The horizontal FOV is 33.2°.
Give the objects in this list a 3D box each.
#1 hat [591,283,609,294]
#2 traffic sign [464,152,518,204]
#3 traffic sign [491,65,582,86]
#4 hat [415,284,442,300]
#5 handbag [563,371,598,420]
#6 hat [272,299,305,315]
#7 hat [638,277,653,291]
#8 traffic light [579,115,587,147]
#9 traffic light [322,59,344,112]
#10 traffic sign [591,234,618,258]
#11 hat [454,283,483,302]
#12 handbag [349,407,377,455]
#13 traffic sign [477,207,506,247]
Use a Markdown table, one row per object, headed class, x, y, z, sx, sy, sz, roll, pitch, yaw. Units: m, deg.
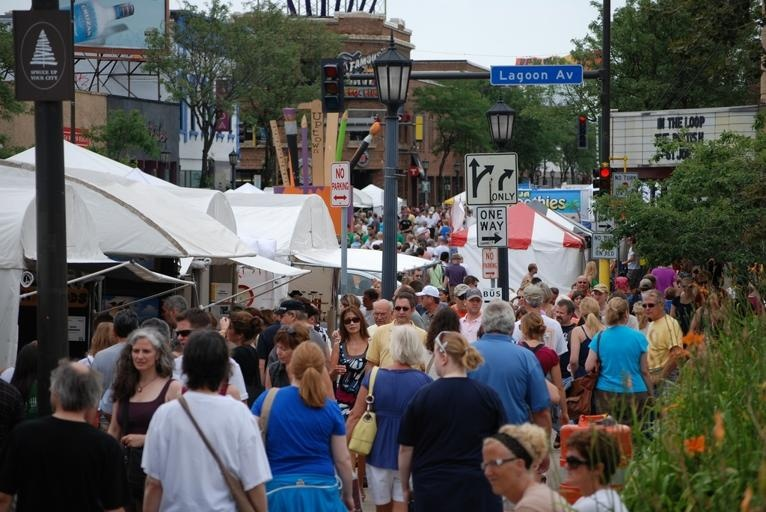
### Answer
| class | x | y | z | sx | sy | sz | roll | pitch | yaw |
| --- | --- | --- | --- | --- | --- | --- | --- | --- | --- |
| hat | 3.724 | 0.563 | 22.092 | 0.189 | 0.137 | 0.253 | 0 | -11 | 22 |
| traffic sign | 1.785 | -1.278 | 21.262 | 0.776 | 0.833 | 0.052 | 0 | 5 | 3 |
| traffic sign | 3.472 | -4.121 | 29.452 | 2.056 | 0.468 | 0.549 | 3 | 2 | 3 |
| hat | 0.761 | 0.618 | 22.108 | 0.307 | 0.163 | 0.235 | 4 | -3 | 4 |
| handbag | 2.979 | 2.121 | 19.458 | 0.503 | 0.670 | 0.259 | -4 | -5 | 25 |
| hat | -1.390 | 0.765 | 19.219 | 0.297 | 0.163 | 0.214 | 3 | -1 | 19 |
| hat | 4.712 | 0.512 | 23.439 | 0.302 | 0.234 | 0.507 | 4 | 4 | 22 |
| traffic light | 5.085 | -3.182 | 33.025 | 0.222 | 0.780 | 0.963 | 3 | 2 | 8 |
| traffic light | -0.969 | -3.173 | 23.943 | 0.415 | 0.994 | 0.402 | 2 | 2 | -5 |
| traffic sign | 5.135 | -0.232 | 29.837 | 0.541 | 0.606 | 0.077 | 1 | 6 | 10 |
| hat | 1.379 | 0.611 | 21.230 | 0.359 | 0.186 | 0.559 | 2 | -4 | -11 |
| handbag | -0.267 | 2.323 | 17.136 | 0.288 | 0.624 | 0.537 | 16 | -5 | 0 |
| traffic sign | 1.788 | -0.454 | 21.230 | 0.586 | 0.848 | 0.082 | 3 | -11 | -6 |
